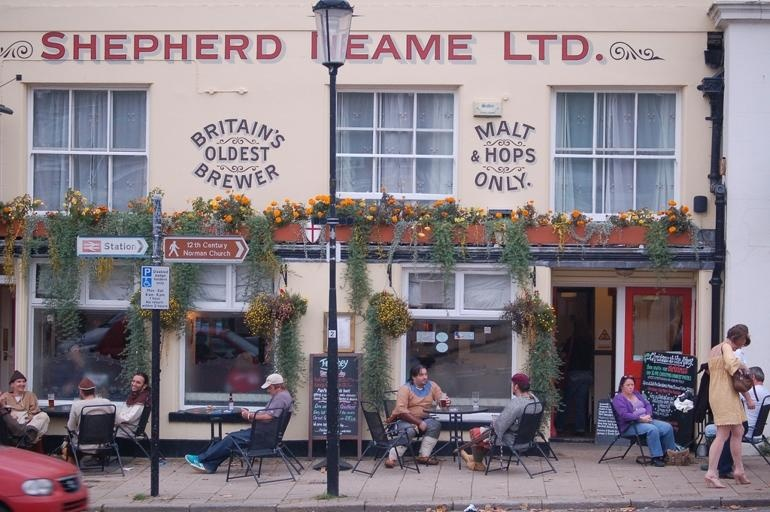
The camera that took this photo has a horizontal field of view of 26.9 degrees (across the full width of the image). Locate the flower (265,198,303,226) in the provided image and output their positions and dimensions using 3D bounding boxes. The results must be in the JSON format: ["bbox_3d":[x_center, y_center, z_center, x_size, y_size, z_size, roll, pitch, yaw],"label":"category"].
[{"bbox_3d":[-1.960,-0.841,30.947,0.509,0.376,0.601,1,3,32],"label":"flower"}]

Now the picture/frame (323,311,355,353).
[{"bbox_3d":[-0.861,1.436,30.195,0.832,1.033,0.105,0,-2,-5],"label":"picture/frame"}]

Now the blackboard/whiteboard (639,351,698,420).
[{"bbox_3d":[5.404,2.475,30.584,1.151,1.458,0.152,3,3,32],"label":"blackboard/whiteboard"}]

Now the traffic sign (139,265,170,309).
[{"bbox_3d":[-4.084,0.550,28.524,0.749,1.060,0.106,0,-3,-3],"label":"traffic sign"}]

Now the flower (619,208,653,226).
[{"bbox_3d":[4.794,-0.716,30.794,0.424,0.204,0.416,2,4,32],"label":"flower"}]

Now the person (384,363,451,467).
[{"bbox_3d":[0.574,2.993,30.283,1.338,1.865,1.093,4,-5,-34],"label":"person"}]

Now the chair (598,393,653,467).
[{"bbox_3d":[4.425,3.416,30.610,1.162,1.522,0.918,-3,-7,29],"label":"chair"}]

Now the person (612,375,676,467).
[{"bbox_3d":[4.829,3.055,30.194,1.143,1.645,0.467,-1,-1,9],"label":"person"}]

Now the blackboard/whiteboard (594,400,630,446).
[{"bbox_3d":[4.740,3.172,31.292,0.733,1.401,0.753,-1,-6,4],"label":"blackboard/whiteboard"}]

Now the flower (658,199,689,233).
[{"bbox_3d":[5.509,-0.713,30.723,0.585,0.627,0.392,-1,-1,8],"label":"flower"}]

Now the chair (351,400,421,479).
[{"bbox_3d":[0.011,3.391,30.214,1.068,1.407,1.165,0,-5,10],"label":"chair"}]

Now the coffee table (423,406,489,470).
[{"bbox_3d":[1.355,3.394,30.511,1.004,0.762,1.029,0,-1,33],"label":"coffee table"}]

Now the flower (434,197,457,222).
[{"bbox_3d":[1.134,-0.878,30.927,0.423,0.331,0.456,8,2,1],"label":"flower"}]

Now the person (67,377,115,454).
[{"bbox_3d":[-5.505,2.980,30.291,0.886,1.584,0.795,0,15,-8],"label":"person"}]

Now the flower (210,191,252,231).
[{"bbox_3d":[-2.954,-0.856,30.996,0.723,0.690,0.548,-9,-4,-7],"label":"flower"}]

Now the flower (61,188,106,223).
[{"bbox_3d":[-5.868,-0.942,31.227,0.671,0.689,0.943,0,-1,-33],"label":"flower"}]

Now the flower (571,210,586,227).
[{"bbox_3d":[3.676,-0.721,30.755,0.274,0.240,0.263,-32,50,-26],"label":"flower"}]

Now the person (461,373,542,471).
[{"bbox_3d":[2.129,3.040,29.758,1.473,1.771,0.748,-1,-1,6],"label":"person"}]

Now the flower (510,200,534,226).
[{"bbox_3d":[2.663,-0.776,30.847,0.445,0.331,0.459,14,20,29],"label":"flower"}]

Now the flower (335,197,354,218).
[{"bbox_3d":[-0.777,-0.915,30.823,0.373,0.395,0.366,4,7,27],"label":"flower"}]

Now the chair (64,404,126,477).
[{"bbox_3d":[-5.498,3.410,30.171,1.011,1.393,0.989,3,-5,-36],"label":"chair"}]

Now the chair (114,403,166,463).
[{"bbox_3d":[-4.948,3.323,30.935,1.089,1.542,0.953,2,-2,5],"label":"chair"}]

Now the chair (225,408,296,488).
[{"bbox_3d":[-2.307,3.476,29.799,1.298,1.301,1.306,-1,-1,-5],"label":"chair"}]
